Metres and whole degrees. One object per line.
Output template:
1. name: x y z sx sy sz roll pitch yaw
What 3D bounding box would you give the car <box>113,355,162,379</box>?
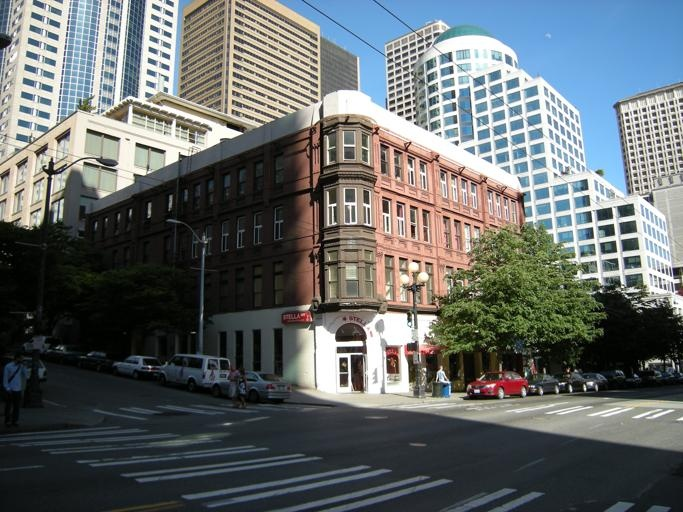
1. car: -14.112 7.630 41.540 3.960 1.477 1.138 -2 -6 32

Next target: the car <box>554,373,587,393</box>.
1. car: 16.192 8.901 42.347 2.932 0.991 1.313 16 -22 -37

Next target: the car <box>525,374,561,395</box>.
1. car: 13.260 8.540 39.825 2.607 0.807 1.106 18 -23 -40

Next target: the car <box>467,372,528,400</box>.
1. car: 9.468 7.758 36.211 4.083 1.643 1.624 4 -6 -36
